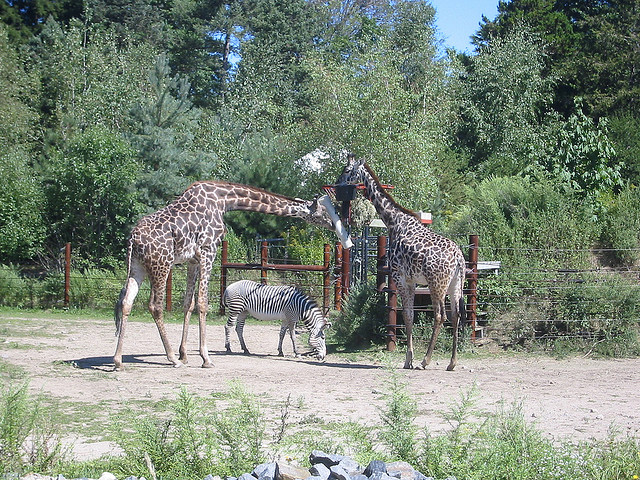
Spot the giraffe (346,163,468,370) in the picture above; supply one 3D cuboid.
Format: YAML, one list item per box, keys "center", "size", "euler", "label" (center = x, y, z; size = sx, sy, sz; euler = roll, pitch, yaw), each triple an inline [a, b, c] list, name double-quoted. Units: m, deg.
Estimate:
- center: [3.146, 0.483, 32.625]
  size: [3.058, 6.521, 3.461]
  euler: [3, 7, 31]
  label: "giraffe"
